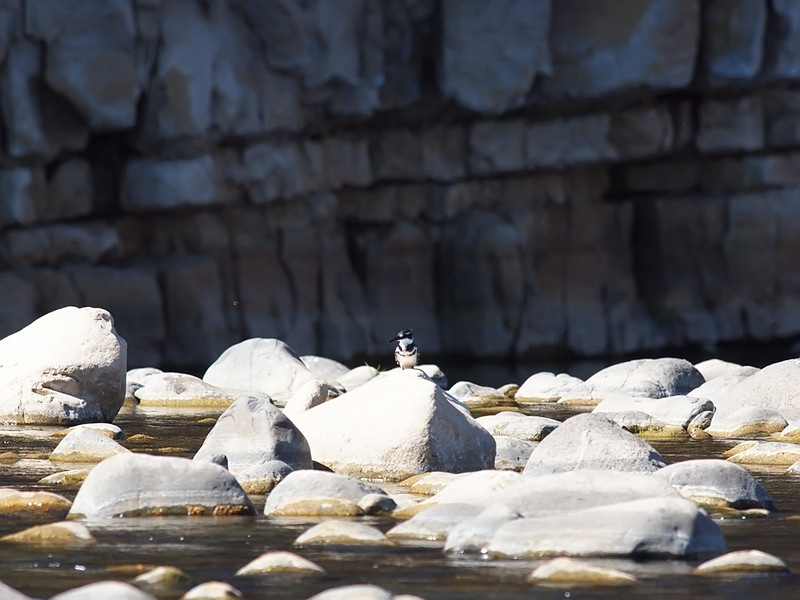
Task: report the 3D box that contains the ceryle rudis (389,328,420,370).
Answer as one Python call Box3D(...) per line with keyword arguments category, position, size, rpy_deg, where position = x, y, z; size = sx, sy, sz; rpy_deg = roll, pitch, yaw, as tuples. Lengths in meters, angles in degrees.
Box3D(category="ceryle rudis", position=(0.079, 0.591, 28.455), size=(0.290, 0.513, 0.625), rpy_deg=(-6, 5, 4))
